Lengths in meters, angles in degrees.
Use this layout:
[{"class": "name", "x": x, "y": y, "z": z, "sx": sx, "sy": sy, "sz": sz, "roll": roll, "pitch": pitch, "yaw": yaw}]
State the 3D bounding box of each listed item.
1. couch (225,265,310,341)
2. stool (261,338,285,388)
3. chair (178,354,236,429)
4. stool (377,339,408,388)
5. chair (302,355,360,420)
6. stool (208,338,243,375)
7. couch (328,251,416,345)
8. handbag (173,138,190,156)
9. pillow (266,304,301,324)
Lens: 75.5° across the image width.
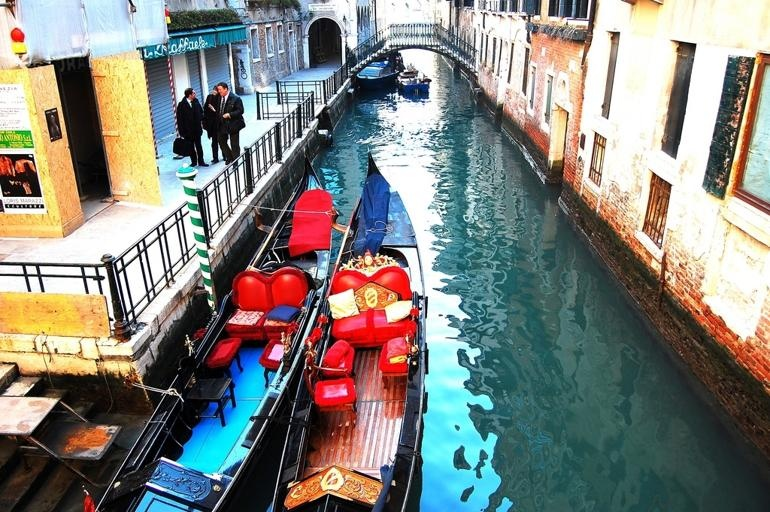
[{"class": "couch", "x": -2.118, "y": 0.917, "z": 8.846, "sx": 1.430, "sy": 1.213, "sz": 0.820, "roll": -2, "pitch": 21, "yaw": 4}, {"class": "stool", "x": -1.816, "y": 1.750, "z": 8.062, "sx": 0.437, "sy": 0.511, "sz": 0.496, "roll": 23, "pitch": 47, "yaw": 17}, {"class": "chair", "x": -2.708, "y": 2.079, "z": 7.653, "sx": 0.698, "sy": 0.945, "sz": 0.716, "roll": -15, "pitch": 23, "yaw": -30}, {"class": "stool", "x": 0.197, "y": 1.757, "z": 8.057, "sx": 0.583, "sy": 0.432, "sz": 0.872, "roll": -5, "pitch": 54, "yaw": 14}, {"class": "chair", "x": -0.835, "y": 1.957, "z": 7.589, "sx": 0.764, "sy": 0.905, "sz": 0.691, "roll": -3, "pitch": 23, "yaw": -3}, {"class": "stool", "x": -2.633, "y": 1.791, "z": 8.253, "sx": 0.382, "sy": 0.482, "sz": 0.696, "roll": -1, "pitch": 33, "yaw": 3}, {"class": "couch", "x": -0.238, "y": 0.878, "z": 8.835, "sx": 1.458, "sy": 1.850, "sz": 1.062, "roll": -3, "pitch": 23, "yaw": 11}, {"class": "handbag", "x": -5.332, "y": -2.855, "z": 12.979, "sx": 0.415, "sy": 0.403, "sz": 0.247, "roll": 10, "pitch": 44, "yaw": -3}, {"class": "pillow", "x": -1.801, "y": 1.000, "z": 8.677, "sx": 0.341, "sy": 0.105, "sz": 0.356, "roll": 7, "pitch": 34, "yaw": 13}]
